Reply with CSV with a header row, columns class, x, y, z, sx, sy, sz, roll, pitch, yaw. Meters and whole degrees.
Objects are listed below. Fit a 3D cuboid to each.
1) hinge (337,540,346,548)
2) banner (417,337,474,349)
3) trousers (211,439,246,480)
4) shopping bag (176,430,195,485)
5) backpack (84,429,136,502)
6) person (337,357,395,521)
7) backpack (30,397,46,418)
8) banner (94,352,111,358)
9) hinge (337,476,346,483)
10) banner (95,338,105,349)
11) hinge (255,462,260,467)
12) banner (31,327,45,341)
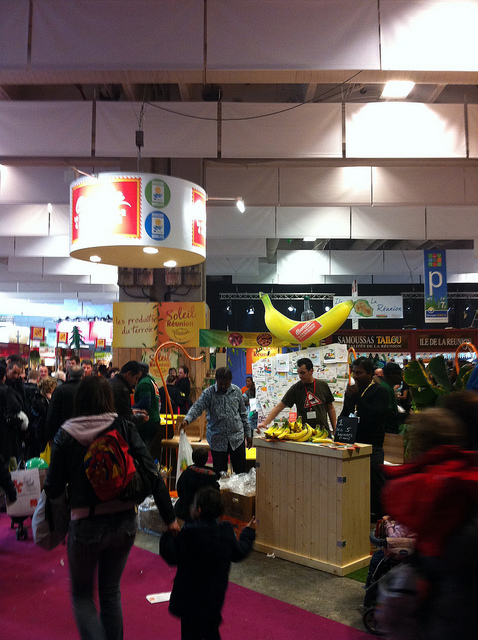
class,x,y,z,sx,sy,sz,roll,pitch,yaw
hinge,0.734,1.582,3.755,0.059,0.050,0.025,0,-2,-1
banner,5.881,0.648,15.091,1.473,0.315,0.474,0,-2,-11
trousers,-0.095,1.367,5.275,0.344,0.354,0.378,-1,-2,1
shopping bag,-0.503,1.298,5.030,0.156,0.500,0.769,0,-2,-7
backpack,-0.535,0.628,2.247,0.190,0.289,0.162,-27,-12,17
person,1.126,0.980,4.716,0.424,1.326,0.406,-6,11,-22
backpack,-2.138,0.922,5.639,0.205,0.205,0.150,0,-2,-3
banner,-4.869,1.245,19.079,0.462,0.180,1.108,0,-2,-9
hinge,0.741,1.135,3.781,0.063,0.042,0.031,-1,-2,4
banner,-4.723,0.796,18.216,0.308,0.356,0.333,1,-4,-9
hinge,0.169,1.197,4.422,0.033,0.053,0.051,0,1,-19
banner,-6.355,0.441,16.740,0.338,0.546,0.368,1,0,0
